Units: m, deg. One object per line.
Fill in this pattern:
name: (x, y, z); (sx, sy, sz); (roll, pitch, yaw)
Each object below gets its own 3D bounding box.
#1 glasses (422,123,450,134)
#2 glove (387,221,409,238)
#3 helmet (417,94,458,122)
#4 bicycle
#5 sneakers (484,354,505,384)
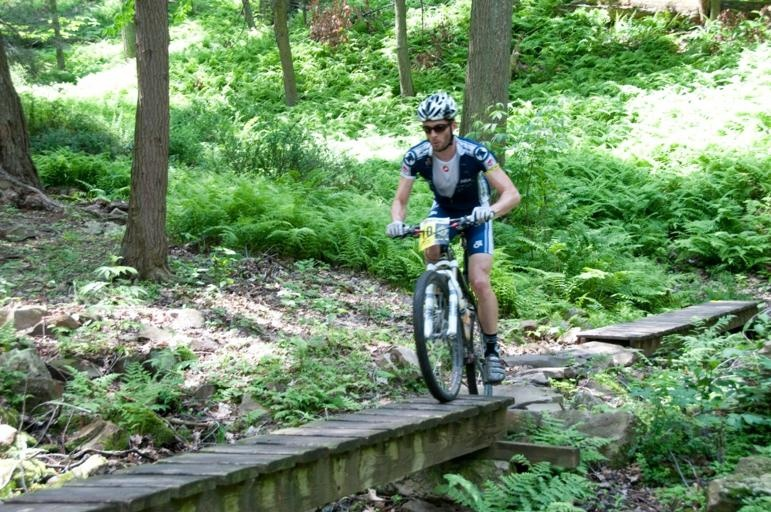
glasses: (0.600, -1.514, 8.183); (0.325, 0.105, 0.134); (0, 12, 4)
glove: (0.127, -0.315, 8.185); (0.229, 0.176, 0.211); (-4, 12, -14)
helmet: (0.619, -1.771, 8.205); (0.435, 0.333, 0.361); (0, 12, 5)
bicycle: (0.689, 0.644, 8.185); (1.351, 2.217, 0.703); (-11, 16, -38)
sneakers: (1.342, 1.389, 8.622); (0.218, 0.383, 0.152); (-3, -1, -3)
